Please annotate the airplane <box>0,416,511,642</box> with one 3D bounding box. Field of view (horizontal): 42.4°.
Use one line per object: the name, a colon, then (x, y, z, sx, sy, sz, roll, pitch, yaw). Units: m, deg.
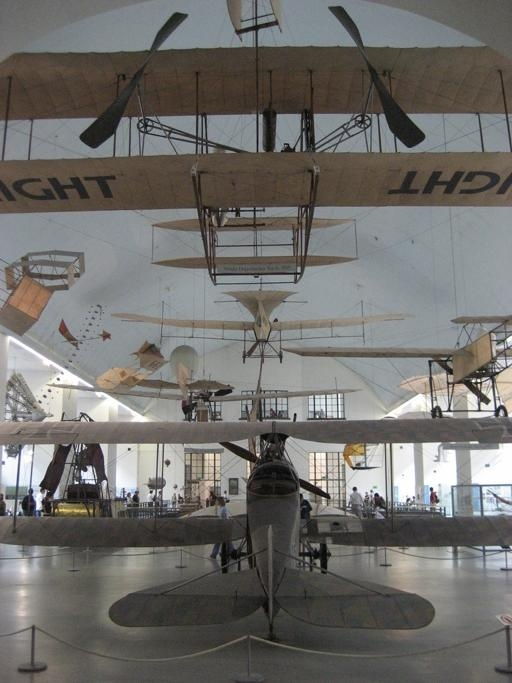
airplane: (0.024, 1.863, 7.760, 6.119, 2.079, 4.148, -3, -14, 11)
